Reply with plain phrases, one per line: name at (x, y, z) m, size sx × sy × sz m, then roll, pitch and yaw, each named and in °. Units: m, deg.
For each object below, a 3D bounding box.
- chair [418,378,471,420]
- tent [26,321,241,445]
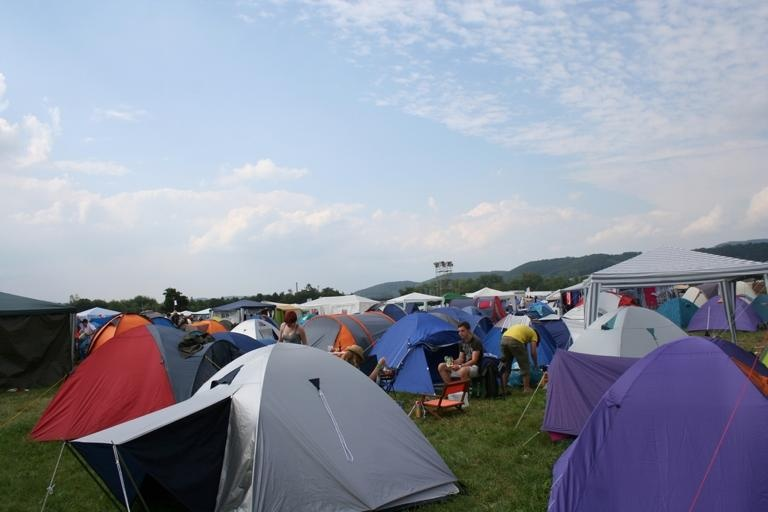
chair at (1.331, 3.256, 11.830) m, size 0.732 × 0.706 × 1.078 m, roll 2°, pitch -12°, yaw -33°
tent at (-5.556, 2.832, 10.967) m, size 2.727 × 1.229 × 2.752 m, roll -2°, pitch -1°, yaw 29°
